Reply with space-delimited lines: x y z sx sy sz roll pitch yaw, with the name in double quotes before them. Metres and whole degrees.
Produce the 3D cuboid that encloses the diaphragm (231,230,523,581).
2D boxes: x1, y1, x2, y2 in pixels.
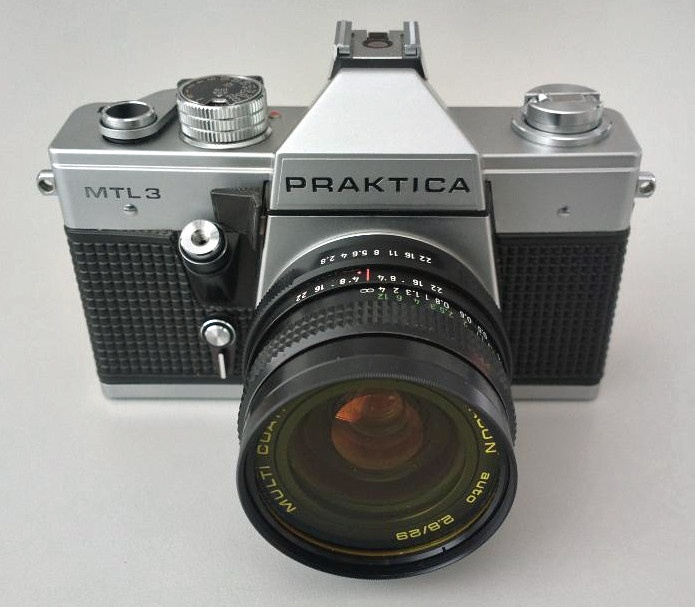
"diaphragm" 0.038 0.156 1.022 0.372 0.469 0.239 -2 28 2
